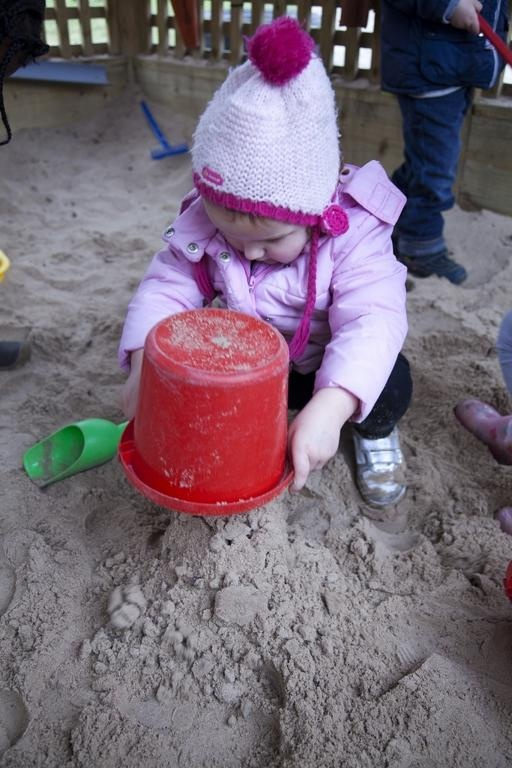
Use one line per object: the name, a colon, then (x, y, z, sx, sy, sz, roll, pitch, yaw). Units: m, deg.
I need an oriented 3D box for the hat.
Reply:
hat: (0.032, -0.493, 1.272, 0.318, 0.347, 0.339, 8, 38, 8)

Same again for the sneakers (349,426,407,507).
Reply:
sneakers: (0.309, 0.186, 1.650, 0.108, 0.096, 0.288, -12, 25, 13)
